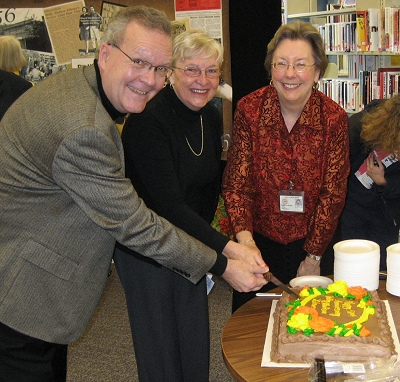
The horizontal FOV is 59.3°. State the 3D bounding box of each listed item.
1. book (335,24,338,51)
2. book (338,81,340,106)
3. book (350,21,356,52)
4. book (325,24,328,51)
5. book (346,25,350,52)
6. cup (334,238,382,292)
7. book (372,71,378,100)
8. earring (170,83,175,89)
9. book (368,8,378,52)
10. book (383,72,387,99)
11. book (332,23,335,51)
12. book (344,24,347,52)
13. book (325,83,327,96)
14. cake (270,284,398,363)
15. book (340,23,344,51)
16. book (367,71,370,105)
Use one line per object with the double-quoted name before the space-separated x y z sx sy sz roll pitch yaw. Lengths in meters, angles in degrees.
"book" 2.068 -2.316 5.306 0.039 0.382 0.120 0 21 18
"book" 2.198 -1.556 5.535 0.027 0.331 0.080 0 21 20
"book" 2.230 -2.243 5.108 0.082 0.397 0.130 0 21 19
"book" 1.969 -2.380 5.457 0.039 0.387 0.152 0 21 19
"book" 2.180 -2.238 5.161 0.042 0.362 0.089 -4 20 8
"cup" 0.599 0.279 1.461 0.225 0.207 0.201 -2 14 1
"book" 2.534 -1.536 5.075 0.084 0.379 0.148 0 21 19
"earring" -0.137 -0.530 1.777 0.028 0.023 0.026 -1 22 -2
"book" 2.371 -2.206 4.800 0.102 0.623 0.531 2 12 27
"book" 2.638 -1.507 4.995 0.052 0.347 0.090 -2 21 15
"book" 2.037 -2.336 5.347 0.044 0.391 0.137 1 21 21
"book" 2.158 -2.262 5.195 0.040 0.381 0.106 0 21 19
"book" 2.079 -1.684 5.785 0.026 0.176 0.055 -14 21 -17
"cake" 0.437 0.415 1.158 0.376 0.095 0.428 0 18 16
"book" 2.123 -2.294 5.238 0.048 0.392 0.131 0 21 18
"book" 2.467 -1.521 5.132 0.041 0.438 0.077 -1 21 18
